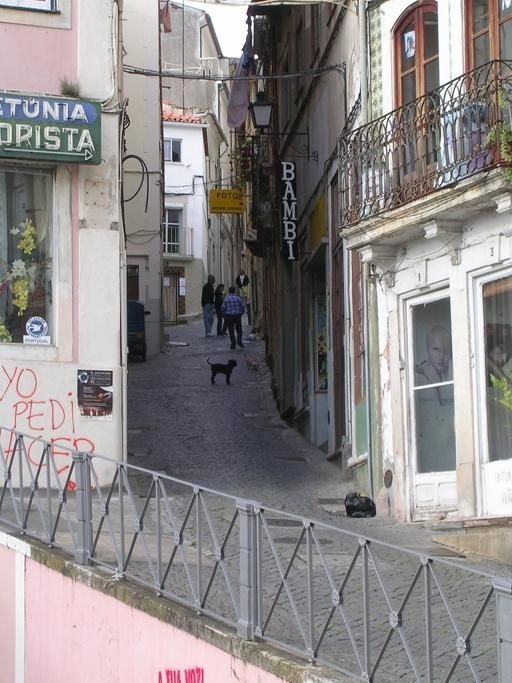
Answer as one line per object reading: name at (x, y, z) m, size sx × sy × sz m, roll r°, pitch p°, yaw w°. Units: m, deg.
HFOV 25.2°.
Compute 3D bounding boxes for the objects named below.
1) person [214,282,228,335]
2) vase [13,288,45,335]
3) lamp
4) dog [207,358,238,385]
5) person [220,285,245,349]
person at (-0.984, -0.942, 35.551) m, size 0.329 × 1.729 × 0.413 m, roll 4°, pitch 19°, yaw 13°
vase at (-2.243, -0.330, 11.465) m, size 0.359 × 0.574 × 0.241 m, roll 5°, pitch -3°, yaw -10°
lamp at (0.401, -3.588, 18.792) m, size 0.854 × 1.475 × 0.489 m, roll 1°, pitch 32°, yaw 8°
dog at (-0.664, 0.644, 23.629) m, size 0.492 × 0.433 × 1.692 m, roll -2°, pitch 0°, yaw -3°
person at (-0.568, -0.601, 30.146) m, size 0.508 × 1.373 × 1.626 m, roll -1°, pitch 0°, yaw -1°
